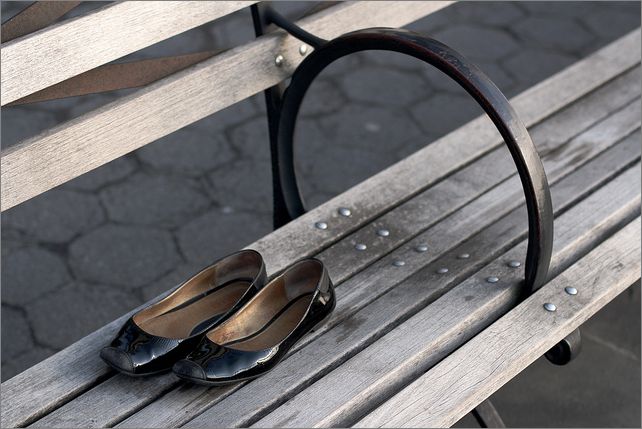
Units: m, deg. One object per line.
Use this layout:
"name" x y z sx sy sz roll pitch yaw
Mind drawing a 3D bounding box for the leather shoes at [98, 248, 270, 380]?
"leather shoes" -0.259 0.224 1.459 0.480 0.121 0.171 -28 43 -36

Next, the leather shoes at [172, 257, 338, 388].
"leather shoes" -0.097 0.259 1.417 0.453 0.133 0.168 -31 47 -26
